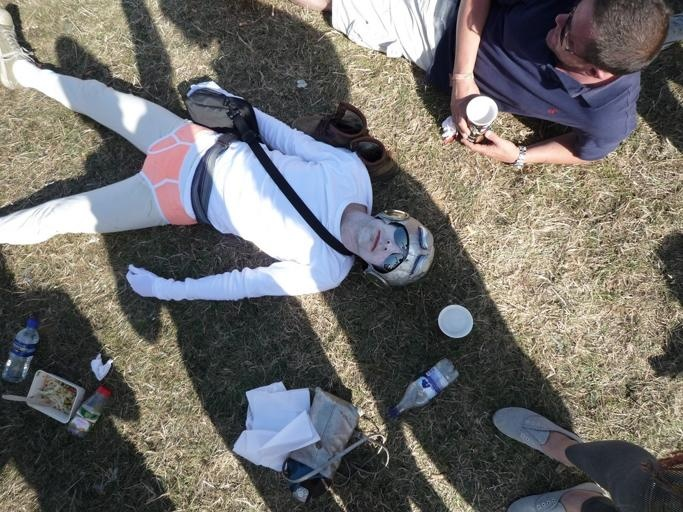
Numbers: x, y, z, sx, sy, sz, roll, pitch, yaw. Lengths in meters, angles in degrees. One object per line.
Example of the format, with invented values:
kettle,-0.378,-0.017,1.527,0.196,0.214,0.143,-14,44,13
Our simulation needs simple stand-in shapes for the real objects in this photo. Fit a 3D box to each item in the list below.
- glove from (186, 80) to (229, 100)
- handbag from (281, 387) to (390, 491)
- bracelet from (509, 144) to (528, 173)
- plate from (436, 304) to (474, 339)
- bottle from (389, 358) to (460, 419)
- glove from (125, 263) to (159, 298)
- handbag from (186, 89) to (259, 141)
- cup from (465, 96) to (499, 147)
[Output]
glove,-1.271,-1.576,5.646,0.335,0.098,0.252,6,54,-22
handbag,-0.150,1.761,5.767,0.937,0.280,0.926,23,96,-3
bracelet,1.666,-0.951,5.870,0.152,0.217,0.234,-4,111,5
plate,1.089,0.618,5.823,0.321,0.119,0.310,30,84,2
bottle,0.838,1.274,6.004,0.894,0.233,0.309,-41,76,1
glove,-1.966,0.255,5.915,0.338,0.250,0.123,36,48,14
handbag,-1.080,-1.327,5.593,0.614,0.439,0.257,20,63,3
cup,1.240,-1.245,5.550,0.353,0.465,0.356,1,97,11
